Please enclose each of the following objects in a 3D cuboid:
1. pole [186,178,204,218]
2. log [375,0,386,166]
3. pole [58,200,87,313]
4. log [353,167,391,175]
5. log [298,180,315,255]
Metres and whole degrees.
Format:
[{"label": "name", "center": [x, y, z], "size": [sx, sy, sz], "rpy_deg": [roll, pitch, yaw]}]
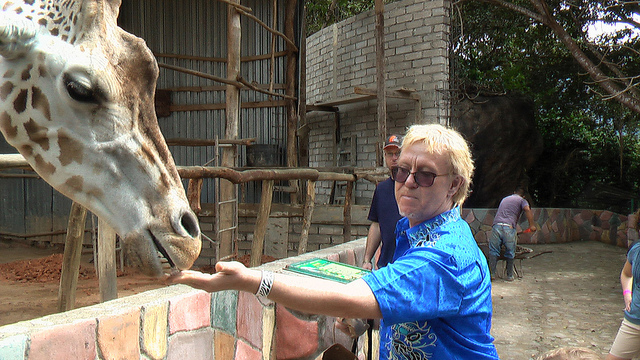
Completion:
[{"label": "pole", "center": [-2.817, 0.230, 13.000], "size": [0.382, 0.334, 1.566], "rpy_deg": [11, -40, 0]}, {"label": "log", "center": [1.861, -3.065, 18.313], "size": [0.384, 4.411, 0.611], "rpy_deg": [2, 1, 6]}, {"label": "pole", "center": [-4.595, 1.378, 10.767], "size": [0.204, 2.131, 0.220], "rpy_deg": [-18, -26, 35]}, {"label": "log", "center": [1.431, -0.259, 16.533], "size": [0.954, 0.163, 0.544], "rpy_deg": [2, 1, -6]}, {"label": "log", "center": [-0.320, 0.860, 13.365], "size": [0.270, 1.347, 1.034], "rpy_deg": [2, 1, -2]}]
